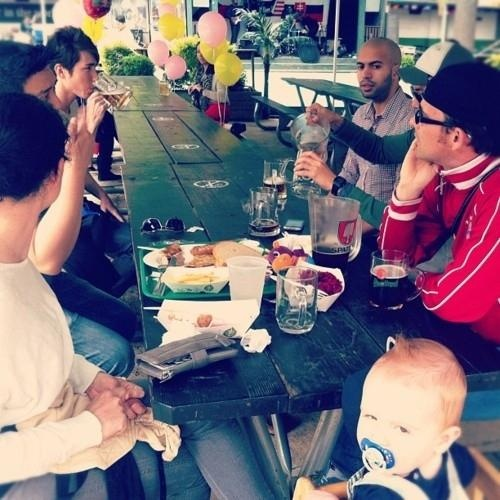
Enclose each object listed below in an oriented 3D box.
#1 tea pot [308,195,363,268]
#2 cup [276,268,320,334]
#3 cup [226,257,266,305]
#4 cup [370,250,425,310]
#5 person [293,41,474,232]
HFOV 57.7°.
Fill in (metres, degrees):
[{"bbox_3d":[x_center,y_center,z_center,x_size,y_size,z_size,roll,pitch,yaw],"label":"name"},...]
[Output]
[{"bbox_3d":[0.241,-0.070,1.493,0.176,0.234,0.176,1,24,-1],"label":"tea pot"},{"bbox_3d":[0.119,0.126,1.153,0.111,0.168,0.108,2,30,-1],"label":"cup"},{"bbox_3d":[-0.021,0.068,1.289,0.121,0.126,0.147,-5,24,-12],"label":"cup"},{"bbox_3d":[0.396,0.086,1.321,0.145,0.171,0.122,-8,23,-21],"label":"cup"},{"bbox_3d":[0.518,-0.582,2.177,0.563,0.739,0.618,-3,28,-10],"label":"person"}]
